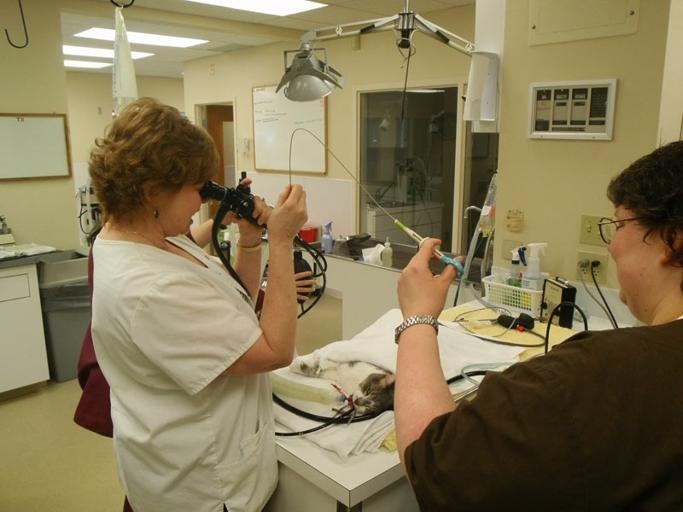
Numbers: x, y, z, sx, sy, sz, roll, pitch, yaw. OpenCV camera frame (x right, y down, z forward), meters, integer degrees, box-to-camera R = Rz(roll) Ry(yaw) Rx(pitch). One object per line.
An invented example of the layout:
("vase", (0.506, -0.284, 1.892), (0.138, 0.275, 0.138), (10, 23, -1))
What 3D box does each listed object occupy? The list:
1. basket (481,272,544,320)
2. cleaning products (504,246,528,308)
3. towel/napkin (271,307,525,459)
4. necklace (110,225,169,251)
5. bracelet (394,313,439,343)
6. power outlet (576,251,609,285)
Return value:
("basket", (0.795, 0.185, 2.521), (0.140, 0.090, 0.213), (-8, 18, -35))
("cleaning products", (0.853, 0.096, 2.604), (0.047, 0.266, 0.143), (9, -7, -30))
("towel/napkin", (0.162, 0.284, 1.738), (0.618, 0.164, 0.399), (-17, 22, -37))
("necklace", (-0.550, -0.060, 1.456), (0.106, 0.058, 0.077), (31, -13, -37))
("bracelet", (0.163, 0.162, 1.191), (0.070, 0.028, 0.067), (-14, -32, 13))
("power outlet", (1.148, 0.054, 2.448), (0.015, 0.143, 0.129), (-7, 11, -40))
